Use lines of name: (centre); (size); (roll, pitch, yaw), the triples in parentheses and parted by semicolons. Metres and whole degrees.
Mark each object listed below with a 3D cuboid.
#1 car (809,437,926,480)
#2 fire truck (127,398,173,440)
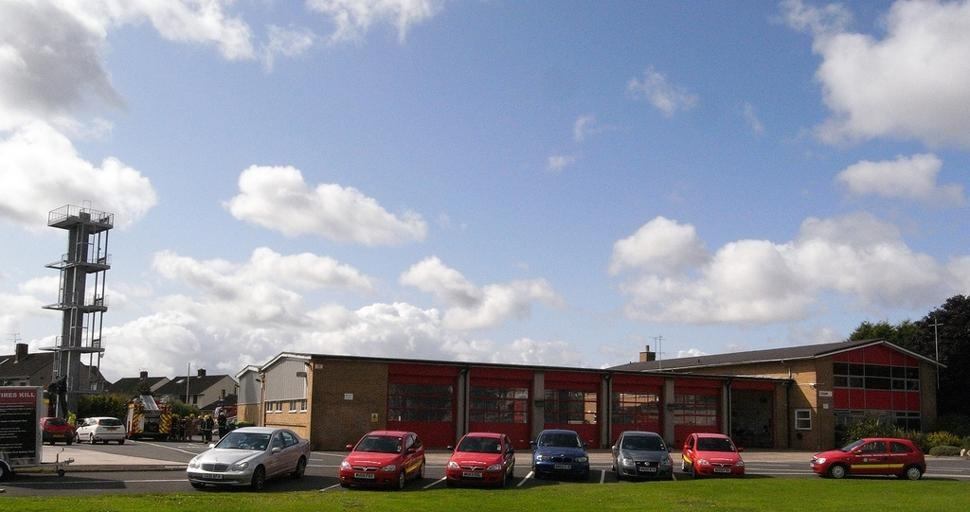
car: (24.422, 13.021, 48.873); (5.734, 2.020, 2.949); (2, -11, 6)
fire truck: (-29.528, 14.057, 66.900); (3.179, 2.792, 5.384); (5, -14, -27)
